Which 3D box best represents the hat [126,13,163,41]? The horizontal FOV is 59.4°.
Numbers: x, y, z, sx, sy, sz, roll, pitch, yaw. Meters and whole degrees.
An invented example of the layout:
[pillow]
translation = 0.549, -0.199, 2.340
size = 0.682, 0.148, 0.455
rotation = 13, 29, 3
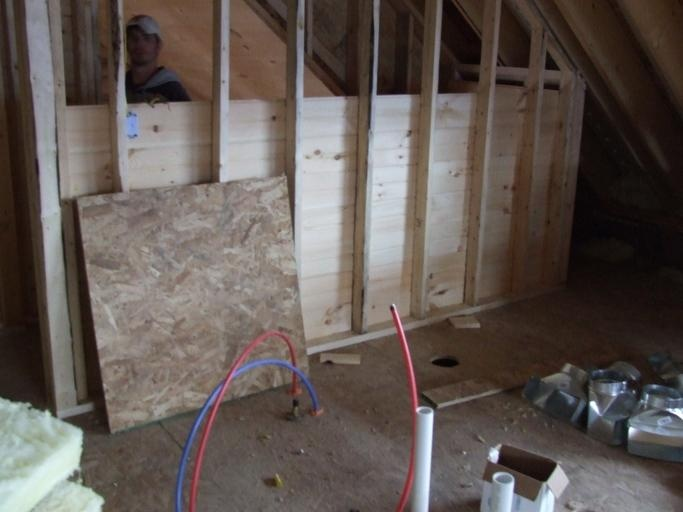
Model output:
[hat]
translation = -1.136, -1.348, 3.555
size = 0.124, 0.094, 0.175
rotation = 8, -7, 5
